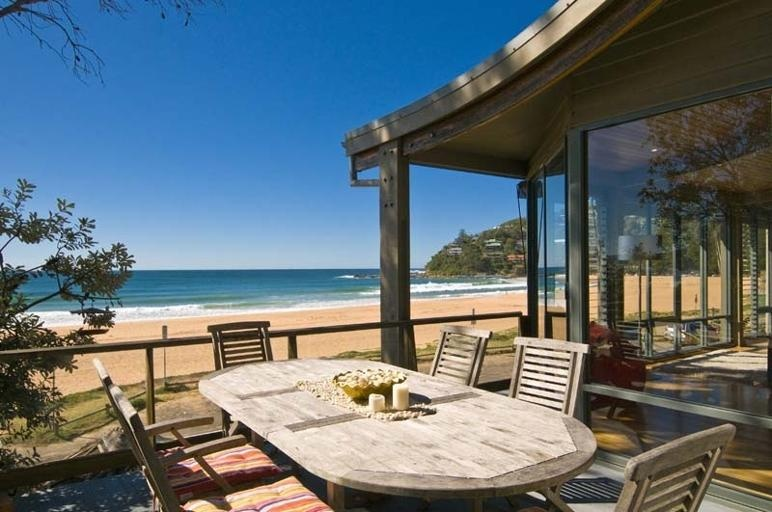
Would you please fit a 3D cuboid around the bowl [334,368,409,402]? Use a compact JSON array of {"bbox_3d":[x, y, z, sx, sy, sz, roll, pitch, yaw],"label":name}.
[{"bbox_3d":[-0.093,0.834,3.047,0.303,0.082,0.289,0,-5,0],"label":"bowl"}]
